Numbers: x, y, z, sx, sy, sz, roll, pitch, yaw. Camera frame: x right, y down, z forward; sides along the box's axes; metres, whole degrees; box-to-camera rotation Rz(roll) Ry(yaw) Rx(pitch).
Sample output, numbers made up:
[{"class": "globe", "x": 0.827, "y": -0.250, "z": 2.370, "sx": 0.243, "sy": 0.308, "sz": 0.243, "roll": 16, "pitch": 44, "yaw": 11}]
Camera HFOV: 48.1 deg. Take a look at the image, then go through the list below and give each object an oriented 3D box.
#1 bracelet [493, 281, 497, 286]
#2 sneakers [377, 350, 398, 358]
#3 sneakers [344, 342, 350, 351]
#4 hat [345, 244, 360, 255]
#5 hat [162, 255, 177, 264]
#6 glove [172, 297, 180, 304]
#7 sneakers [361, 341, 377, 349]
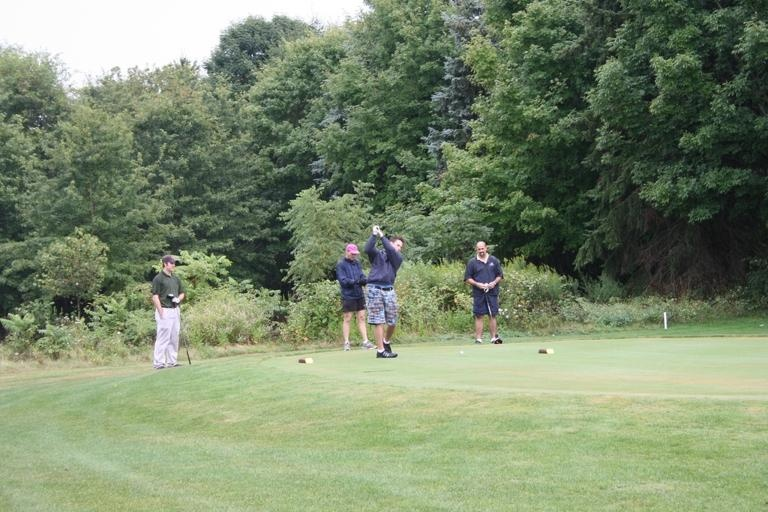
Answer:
[{"class": "bracelet", "x": 2.798, "y": 0.689, "z": 21.954, "sx": 0.098, "sy": 0.045, "sz": 0.130, "roll": -14, "pitch": 4, "yaw": 23}, {"class": "sneakers", "x": 0.029, "y": 2.130, "z": 18.829, "sx": 0.447, "sy": 0.184, "sz": 0.165, "roll": 0, "pitch": -2, "yaw": 3}, {"class": "sneakers", "x": -0.954, "y": 2.208, "z": 21.043, "sx": 0.128, "sy": 0.153, "sz": 0.357, "roll": 0, "pitch": -8, "yaw": -4}, {"class": "hat", "x": -0.815, "y": -0.149, "z": 20.794, "sx": 0.281, "sy": 0.303, "sz": 0.471, "roll": -5, "pitch": 11, "yaw": -9}, {"class": "hat", "x": -5.229, "y": 0.080, "z": 20.638, "sx": 0.268, "sy": 0.144, "sz": 0.200, "roll": -1, "pitch": 6, "yaw": 10}, {"class": "glove", "x": -5.022, "y": 1.052, "z": 20.522, "sx": 0.163, "sy": 0.158, "sz": 0.116, "roll": -7, "pitch": 12, "yaw": -19}, {"class": "sneakers", "x": -0.410, "y": 2.127, "z": 20.619, "sx": 0.359, "sy": 0.174, "sz": 0.135, "roll": 0, "pitch": 3, "yaw": 25}]
